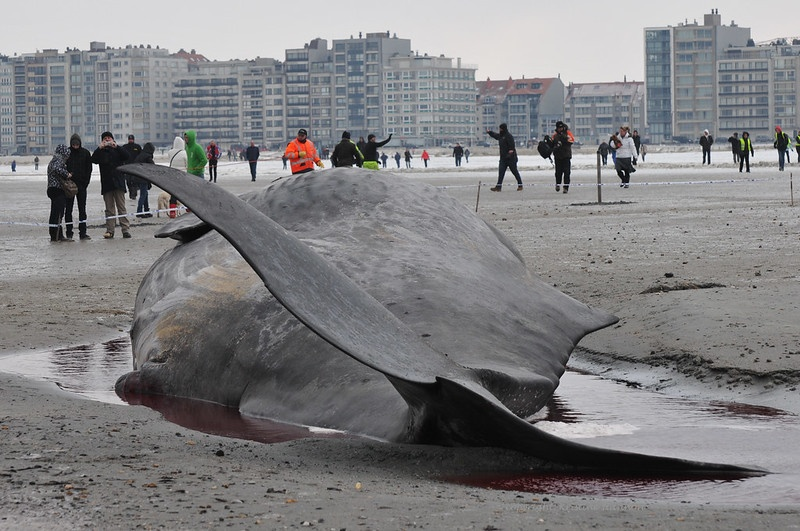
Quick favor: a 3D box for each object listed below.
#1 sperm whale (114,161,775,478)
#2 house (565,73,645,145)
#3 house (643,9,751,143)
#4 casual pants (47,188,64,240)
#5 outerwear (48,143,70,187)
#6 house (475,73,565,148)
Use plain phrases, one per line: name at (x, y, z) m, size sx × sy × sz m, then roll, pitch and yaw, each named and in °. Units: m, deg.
sperm whale at (-0.309, 0.294, 9.881) m, size 2.166 × 1.274 × 4.066 m, roll 22°, pitch -2°, yaw -20°
house at (34.293, -23.298, 220.377) m, size 13.855 × 12.458 × 10.383 m, roll 2°, pitch -13°, yaw 14°
house at (41.693, -22.638, 175.670) m, size 11.795 × 17.472 × 12.229 m, roll 8°, pitch -20°, yaw -8°
casual pants at (-5.559, -0.830, 21.623) m, size 0.267 × 0.859 × 0.675 m, roll -2°, pitch 3°, yaw -14°
outerwear at (-5.438, -1.575, 21.292) m, size 0.347 × 0.690 × 0.620 m, roll -2°, pitch 3°, yaw -15°
house at (19.836, -26.299, 222.212) m, size 15.668 × 10.126 × 7.855 m, roll 4°, pitch 10°, yaw 43°
